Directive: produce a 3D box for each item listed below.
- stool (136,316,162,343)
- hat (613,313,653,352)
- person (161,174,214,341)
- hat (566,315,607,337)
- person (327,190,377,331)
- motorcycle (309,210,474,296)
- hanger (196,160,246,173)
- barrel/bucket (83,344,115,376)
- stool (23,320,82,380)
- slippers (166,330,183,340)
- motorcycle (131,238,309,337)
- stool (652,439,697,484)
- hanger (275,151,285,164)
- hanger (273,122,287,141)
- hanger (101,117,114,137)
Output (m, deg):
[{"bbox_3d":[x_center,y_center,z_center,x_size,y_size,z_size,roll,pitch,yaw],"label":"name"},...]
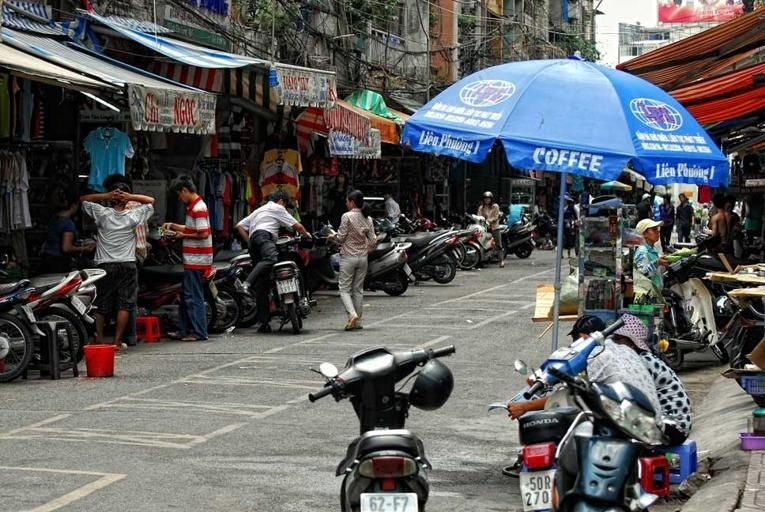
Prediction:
[{"bbox_3d":[-3.660,1.142,14.603,0.360,0.361,0.374,0,-2,11],"label":"stool"},{"bbox_3d":[2.118,0.633,7.906,0.348,0.186,0.340,29,-4,-37],"label":"hat"},{"bbox_3d":[-2.904,0.064,14.326,0.537,2.492,0.368,-1,5,-13],"label":"person"},{"bbox_3d":[1.762,0.655,8.142,0.296,0.169,0.225,-6,5,33],"label":"hat"},{"bbox_3d":[-0.479,0.071,15.456,0.656,2.246,0.794,0,5,-3],"label":"person"},{"bbox_3d":[0.031,-0.012,20.505,3.017,1.800,1.516,1,5,4],"label":"motorcycle"},{"bbox_3d":[-3.258,-1.796,18.887,0.367,0.251,1.791,2,5,16],"label":"hanger"},{"bbox_3d":[-3.523,1.301,11.728,0.356,0.301,0.377,1,-4,0],"label":"barrel/bucket"},{"bbox_3d":[-4.220,1.174,11.860,0.710,0.937,0.678,0,1,35],"label":"stool"},{"bbox_3d":[-3.222,1.240,14.667,0.343,0.160,0.125,-3,1,35],"label":"slippers"},{"bbox_3d":[-2.575,0.552,15.381,2.809,1.736,1.289,1,12,-2],"label":"motorcycle"},{"bbox_3d":[2.535,1.775,8.183,0.369,0.326,0.383,5,-3,17],"label":"stool"},{"bbox_3d":[-2.239,-2.096,20.256,0.234,0.335,0.044,1,10,12],"label":"hanger"},{"bbox_3d":[-2.234,-2.682,20.440,0.306,0.397,0.289,-2,5,-22],"label":"hanger"},{"bbox_3d":[-4.468,-2.055,15.204,0.225,0.266,0.469,1,8,-2],"label":"hanger"}]
